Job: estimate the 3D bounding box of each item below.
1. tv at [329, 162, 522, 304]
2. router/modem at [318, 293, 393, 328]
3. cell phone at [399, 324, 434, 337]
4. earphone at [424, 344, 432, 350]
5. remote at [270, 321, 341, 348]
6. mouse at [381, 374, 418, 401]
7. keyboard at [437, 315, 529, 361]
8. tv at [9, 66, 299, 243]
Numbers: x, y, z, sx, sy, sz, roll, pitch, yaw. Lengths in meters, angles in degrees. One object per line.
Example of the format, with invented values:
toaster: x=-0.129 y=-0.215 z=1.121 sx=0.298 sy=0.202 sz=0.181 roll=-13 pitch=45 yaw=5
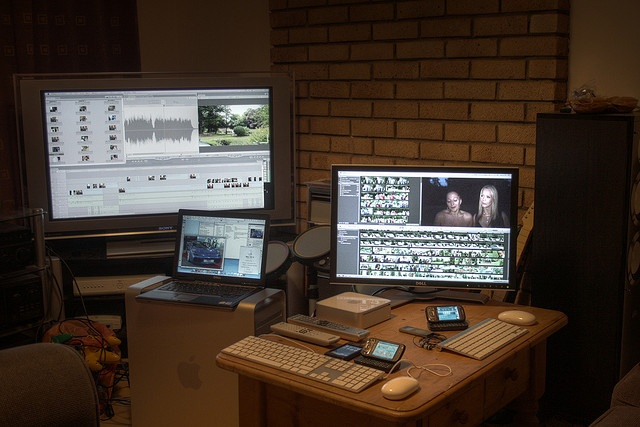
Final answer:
tv: x=0.482 y=0.090 z=2.333 sx=0.810 sy=0.469 sz=0.032 roll=2 pitch=3 yaw=5
router/modem: x=0.170 y=0.419 z=2.218 sx=0.188 sy=0.049 sz=0.177 roll=9 pitch=14 yaw=41
cell phone: x=0.404 y=0.494 z=2.110 sx=0.090 sy=0.010 sz=0.048 roll=6 pitch=14 yaw=31
earphone: x=0.435 y=0.536 z=2.015 sx=0.030 sy=0.018 sz=0.019 roll=0 pitch=-20 yaw=43
remote: x=-0.067 y=0.488 z=2.099 sx=0.325 sy=0.043 sz=0.093 roll=9 pitch=17 yaw=30
mouse: x=0.279 y=0.598 z=1.728 sx=0.138 sy=0.058 sz=0.078 roll=-5 pitch=9 yaw=-38
keyboard: x=0.659 y=0.508 z=2.028 sx=0.241 sy=0.016 sz=0.127 roll=-16 pitch=24 yaw=-41
tv: x=-1.018 y=-0.381 z=3.248 sx=1.707 sy=1.015 sz=0.122 roll=0 pitch=8 yaw=-7
